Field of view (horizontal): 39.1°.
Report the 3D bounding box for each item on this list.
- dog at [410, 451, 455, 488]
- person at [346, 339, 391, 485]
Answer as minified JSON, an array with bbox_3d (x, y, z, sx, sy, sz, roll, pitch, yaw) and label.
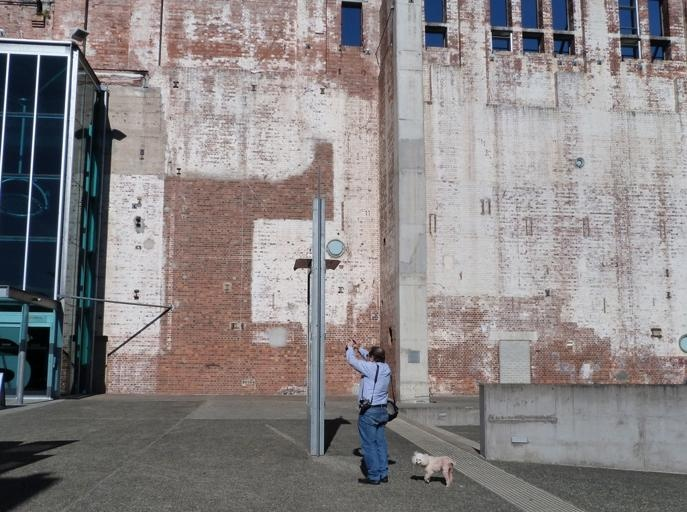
[{"bbox_3d":[2.193,5.118,23.468,0.940,0.742,0.658,2,4,13],"label":"dog"},{"bbox_3d":[0.663,3.818,23.458,0.979,3.186,0.757,4,5,37],"label":"person"}]
